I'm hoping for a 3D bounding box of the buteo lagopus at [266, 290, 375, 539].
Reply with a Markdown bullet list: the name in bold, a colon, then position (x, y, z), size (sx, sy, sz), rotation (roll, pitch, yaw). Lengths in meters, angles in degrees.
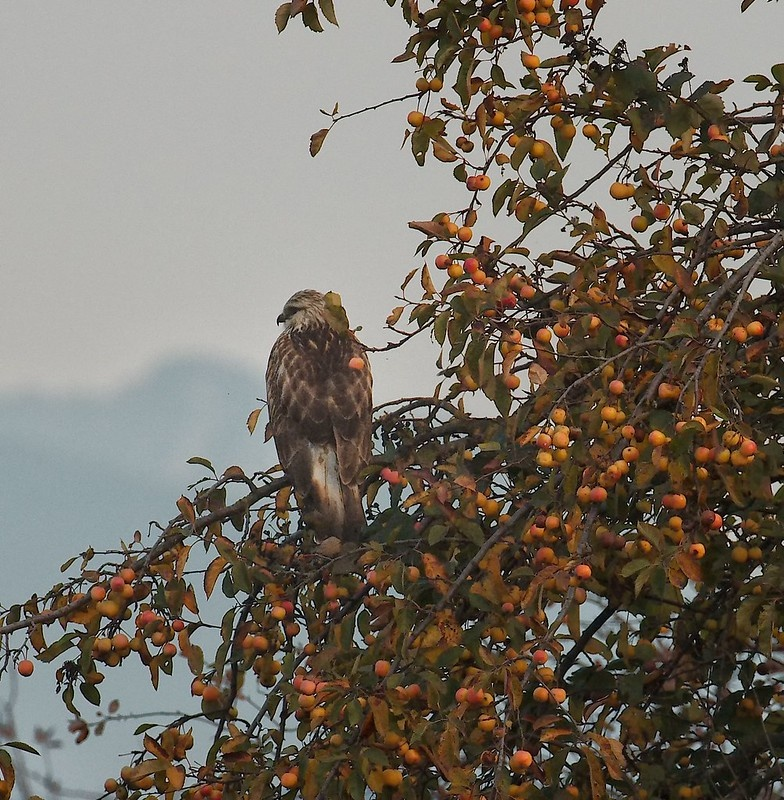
- **buteo lagopus**: position (-0.232, 0.078, 8.688), size (0.366, 1.222, 0.770), rotation (-2, -72, -5)
